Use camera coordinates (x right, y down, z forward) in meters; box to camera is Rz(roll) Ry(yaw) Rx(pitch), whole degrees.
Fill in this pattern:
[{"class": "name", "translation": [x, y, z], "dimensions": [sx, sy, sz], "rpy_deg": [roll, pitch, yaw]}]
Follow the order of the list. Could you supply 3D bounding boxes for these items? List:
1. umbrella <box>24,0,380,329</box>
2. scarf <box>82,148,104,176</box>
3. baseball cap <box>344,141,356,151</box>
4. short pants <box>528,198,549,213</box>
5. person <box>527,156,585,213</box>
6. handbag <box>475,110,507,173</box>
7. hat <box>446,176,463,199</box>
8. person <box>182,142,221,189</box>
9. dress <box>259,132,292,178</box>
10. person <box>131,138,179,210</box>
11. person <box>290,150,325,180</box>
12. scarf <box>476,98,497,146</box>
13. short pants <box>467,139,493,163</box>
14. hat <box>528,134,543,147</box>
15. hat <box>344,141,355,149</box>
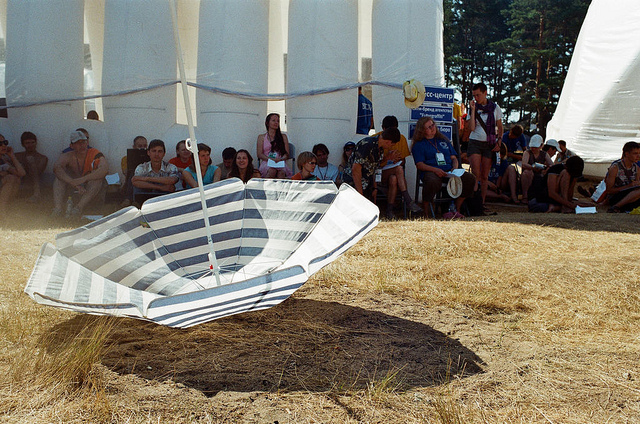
[{"class": "umbrella", "translation": [-2.292, -0.993, 14.607], "dimensions": [4.585, 4.975, 4.645], "rpy_deg": [-6, 19, 16]}, {"class": "scarf", "translation": [-4.850, -1.109, 16.503], "dimensions": [0.374, 0.531, 0.232], "rpy_deg": [6, -19, -1]}, {"class": "baseball cap", "translation": [0.687, -1.485, 17.479], "dimensions": [0.273, 0.148, 0.392], "rpy_deg": [-4, -12, -2]}, {"class": "short pants", "translation": [4.776, -0.128, 16.862], "dimensions": [0.335, 0.169, 0.271], "rpy_deg": [-1, 9, 1]}, {"class": "person", "translation": [5.334, -0.605, 17.200], "dimensions": [1.093, 1.398, 1.300], "rpy_deg": [5, 2, -24]}, {"class": "handbag", "translation": [3.993, -1.470, 18.398], "dimensions": [0.328, 1.333, 0.965], "rpy_deg": [-19, 18, -9]}, {"class": "hat", "translation": [2.836, -0.518, 15.897], "dimensions": [0.178, 0.455, 0.420], "rpy_deg": [-5, 12, -30]}, {"class": "person", "translation": [-2.348, -0.884, 15.744], "dimensions": [0.696, 1.023, 0.823], "rpy_deg": [-2, 3, -11]}, {"class": "dress", "translation": [-0.761, -1.217, 17.080], "dimensions": [0.669, 1.192, 0.821], "rpy_deg": [-2, 4, -27]}, {"class": "person", "translation": [-3.422, -0.658, 16.207], "dimensions": [1.004, 1.665, 0.936], "rpy_deg": [-3, 14, -19]}, {"class": "person", "translation": [-0.250, -0.949, 15.802], "dimensions": [0.482, 0.673, 0.728], "rpy_deg": [4, 5, 42]}, {"class": "scarf", "translation": [3.565, -1.882, 16.341], "dimensions": [0.434, 0.939, 0.324], "rpy_deg": [8, 12, 34]}, {"class": "short pants", "translation": [3.391, -1.349, 16.490], "dimensions": [0.580, 0.601, 0.356], "rpy_deg": [1, 0, -2]}, {"class": "hat", "translation": [5.112, -1.669, 18.175], "dimensions": [0.335, 0.284, 0.231], "rpy_deg": [0, 10, -6]}, {"class": "hat", "translation": [0.682, -1.526, 17.589], "dimensions": [0.223, 0.112, 0.324], "rpy_deg": [-2, -9, 2]}]
